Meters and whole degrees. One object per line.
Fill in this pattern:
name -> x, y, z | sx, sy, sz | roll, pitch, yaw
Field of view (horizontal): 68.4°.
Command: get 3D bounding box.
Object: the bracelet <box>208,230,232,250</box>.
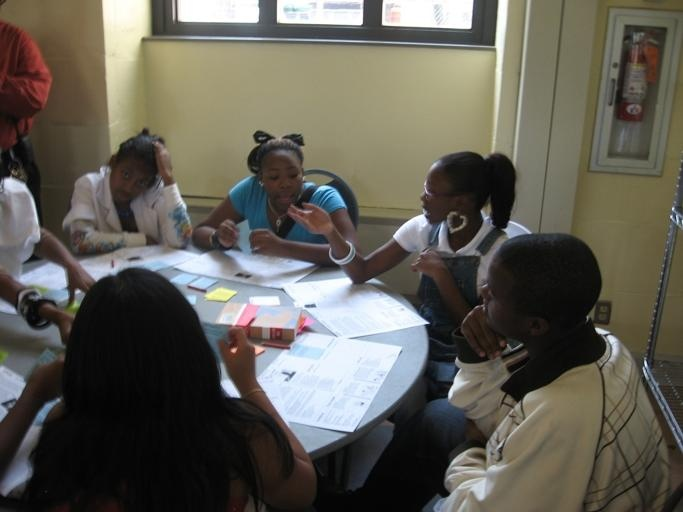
bracelet -> -0.564, -0.073, 2.316 | 0.094, 0.040, 0.074 | -1, 19, -14

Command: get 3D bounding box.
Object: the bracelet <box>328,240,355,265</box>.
bracelet -> -0.009, -0.003, 2.082 | 0.100, 0.041, 0.093 | -22, 18, 50

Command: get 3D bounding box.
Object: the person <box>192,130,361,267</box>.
person -> -0.291, -0.304, 2.524 | 0.681, 1.022, 0.542 | -4, -3, -3

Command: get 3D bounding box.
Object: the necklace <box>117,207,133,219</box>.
necklace -> -1.050, -0.211, 2.424 | 0.051, 0.051, 0.012 | 1, 15, -12

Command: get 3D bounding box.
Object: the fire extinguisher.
fire extinguisher -> 1.446, -0.873, 2.434 | 0.154, 0.404, 0.082 | 10, 17, 25

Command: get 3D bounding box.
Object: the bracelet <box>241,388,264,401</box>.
bracelet -> -0.203, 0.319, 1.159 | 0.033, 0.024, 0.021 | -13, -19, 7

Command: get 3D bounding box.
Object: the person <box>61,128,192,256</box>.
person -> -1.063, -0.181, 2.517 | 0.606, 0.790, 0.534 | 1, 19, -17

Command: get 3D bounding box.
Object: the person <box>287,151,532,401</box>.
person -> 0.358, 0.083, 2.601 | 0.989, 1.650, 0.728 | 3, -4, -19

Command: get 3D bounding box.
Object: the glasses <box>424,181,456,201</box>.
glasses -> 0.364, -0.245, 1.886 | 0.069, 0.022, 0.070 | 6, 28, -6

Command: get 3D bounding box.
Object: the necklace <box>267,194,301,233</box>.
necklace -> -0.295, -0.212, 2.439 | 0.130, 0.188, 0.063 | -2, 27, -27

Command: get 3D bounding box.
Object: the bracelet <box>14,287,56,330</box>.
bracelet -> -0.981, 0.157, 1.616 | 0.065, 0.103, 0.135 | -41, 41, -17
